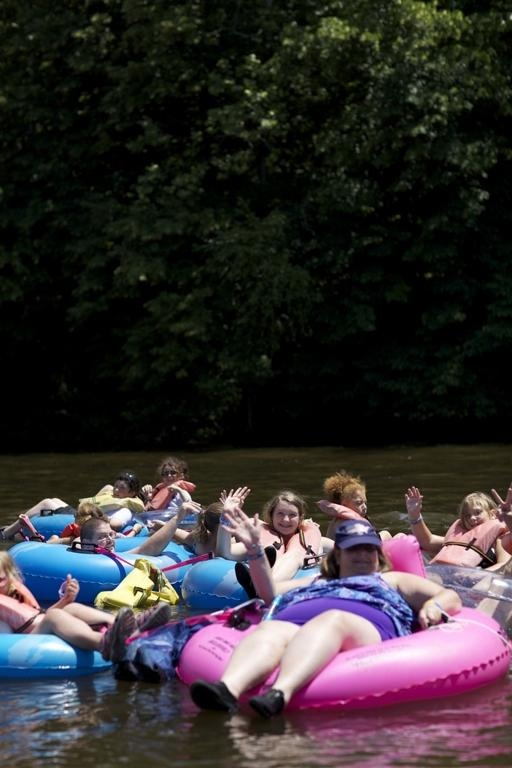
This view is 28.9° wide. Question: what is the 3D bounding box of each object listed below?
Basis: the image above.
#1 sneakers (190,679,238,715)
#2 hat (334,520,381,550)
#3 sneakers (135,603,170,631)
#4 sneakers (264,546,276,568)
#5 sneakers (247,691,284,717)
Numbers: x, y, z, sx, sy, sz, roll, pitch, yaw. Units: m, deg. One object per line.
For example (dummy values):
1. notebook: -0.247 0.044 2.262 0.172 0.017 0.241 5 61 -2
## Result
1. sneakers: -0.165 1.220 3.949 0.185 0.106 0.080 10 32 42
2. hat: 0.461 0.684 4.480 0.199 0.150 0.175 -6 8 -9
3. sneakers: -0.476 1.069 4.582 0.160 0.139 0.131 -6 8 -7
4. sneakers: 0.079 0.903 5.180 0.049 0.124 0.095 -8 0 -2
5. sneakers: 0.049 1.246 3.859 0.076 0.064 0.173 -11 -6 -5
